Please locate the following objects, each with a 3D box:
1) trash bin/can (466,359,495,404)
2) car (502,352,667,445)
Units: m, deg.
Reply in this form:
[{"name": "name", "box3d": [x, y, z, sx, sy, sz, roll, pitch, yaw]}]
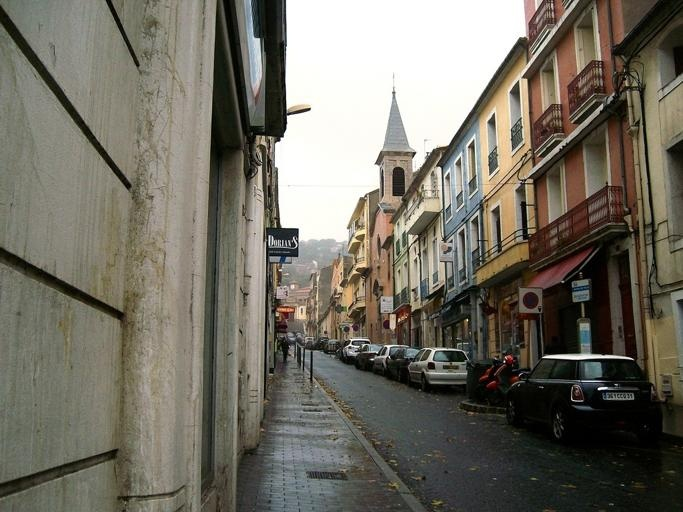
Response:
[{"name": "trash bin/can", "box3d": [4.202, 3.664, 18.922, 0.863, 1.571, 1.018, 2, -7, -10]}, {"name": "car", "box3d": [4.521, 2.673, 12.718, 1.406, 1.381, 2.771, 4, -11, -8]}]
